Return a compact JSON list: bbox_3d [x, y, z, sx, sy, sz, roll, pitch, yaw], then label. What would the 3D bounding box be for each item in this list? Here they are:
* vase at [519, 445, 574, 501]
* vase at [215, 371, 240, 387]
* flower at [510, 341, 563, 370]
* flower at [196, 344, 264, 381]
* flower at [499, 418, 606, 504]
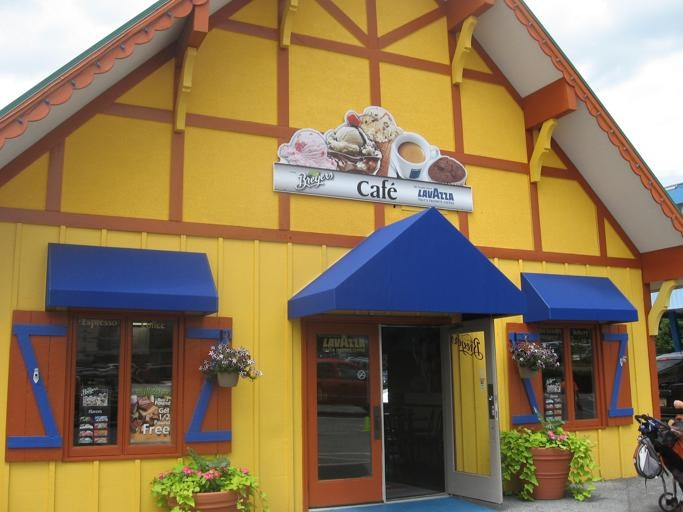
[{"bbox_3d":[3.465,3.656,12.694,0.731,0.662,0.758,-7,-14,41],"label":"vase"},{"bbox_3d":[-1.734,1.871,11.416,0.237,0.172,0.256,0,-10,-3],"label":"vase"},{"bbox_3d":[3.416,1.768,13.427,0.636,0.396,0.556,3,-1,36],"label":"flower"},{"bbox_3d":[-1.732,1.643,11.632,0.614,0.478,0.641,5,-6,-10],"label":"flower"},{"bbox_3d":[3.511,3.696,13.047,1.444,1.452,1.184,1,-13,-2],"label":"flower"}]
